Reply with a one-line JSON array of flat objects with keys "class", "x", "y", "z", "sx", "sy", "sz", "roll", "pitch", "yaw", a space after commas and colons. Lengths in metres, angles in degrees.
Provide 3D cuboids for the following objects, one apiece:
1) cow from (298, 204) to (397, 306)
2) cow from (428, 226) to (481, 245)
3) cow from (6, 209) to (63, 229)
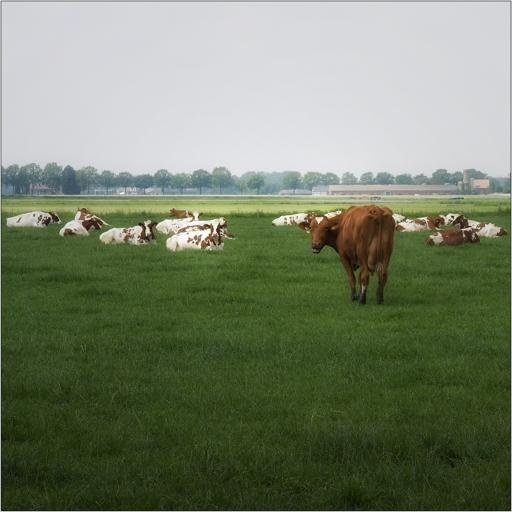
[{"class": "cow", "x": 1.990, "y": -0.029, "z": 16.540, "sx": 0.999, "sy": 2.082, "sz": 3.033, "roll": -2, "pitch": 1, "yaw": -21}, {"class": "cow", "x": 6.774, "y": -0.644, "z": 26.138, "sx": 1.906, "sy": 0.507, "sz": 0.743, "roll": -5, "pitch": 12, "yaw": -23}, {"class": "cow", "x": -9.166, "y": -1.474, "z": 31.431, "sx": 2.104, "sy": 0.656, "sz": 1.721, "roll": -5, "pitch": 12, "yaw": -24}]
